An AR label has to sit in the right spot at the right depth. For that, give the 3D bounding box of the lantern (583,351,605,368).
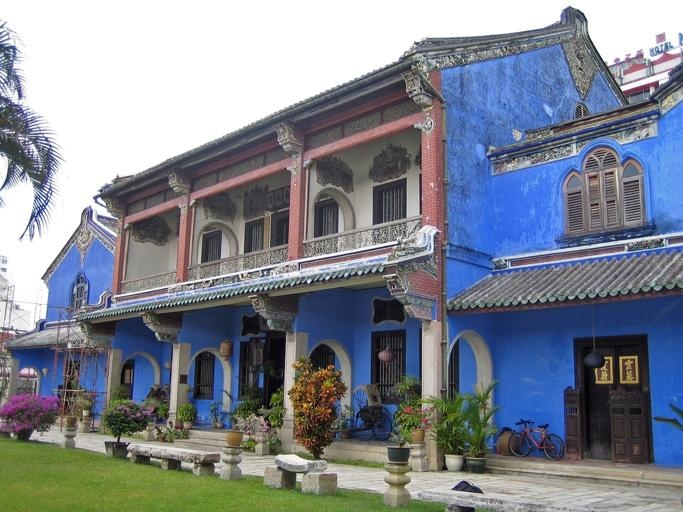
[{"bbox_3d":[5.052,2.049,13.002,0.361,0.389,0.376,-5,-8,25],"label":"lantern"}]

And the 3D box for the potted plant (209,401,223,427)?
[{"bbox_3d":[-3.807,4.822,19.714,0.521,0.951,0.547,1,-19,-6],"label":"potted plant"}]

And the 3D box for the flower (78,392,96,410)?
[{"bbox_3d":[-8.204,4.683,20.981,0.442,0.658,1.214,10,-22,-20],"label":"flower"}]

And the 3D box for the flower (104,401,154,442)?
[{"bbox_3d":[-4.852,3.673,14.523,0.721,0.902,0.862,-12,-24,35],"label":"flower"}]

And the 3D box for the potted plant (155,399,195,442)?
[{"bbox_3d":[-4.607,4.596,18.098,0.883,1.151,0.783,-2,-10,-3],"label":"potted plant"}]

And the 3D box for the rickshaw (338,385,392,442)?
[{"bbox_3d":[0.593,3.869,16.154,1.361,1.356,0.797,-16,-26,40],"label":"rickshaw"}]

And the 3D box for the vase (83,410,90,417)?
[{"bbox_3d":[-8.008,4.938,20.461,0.224,0.181,0.217,10,-17,-32],"label":"vase"}]

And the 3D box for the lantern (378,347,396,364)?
[{"bbox_3d":[1.076,2.380,15.547,0.396,0.434,0.388,-3,-4,2],"label":"lantern"}]

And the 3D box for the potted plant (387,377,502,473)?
[{"bbox_3d":[2.255,3.560,13.931,2.175,2.052,1.763,-5,-21,19],"label":"potted plant"}]

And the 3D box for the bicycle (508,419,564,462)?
[{"bbox_3d":[4.176,3.957,13.916,0.550,0.721,1.095,15,-14,-42],"label":"bicycle"}]

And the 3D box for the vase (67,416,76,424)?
[{"bbox_3d":[-6.619,4.023,15.860,0.216,0.255,0.403,10,-22,-22],"label":"vase"}]

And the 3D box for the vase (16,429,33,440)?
[{"bbox_3d":[-8.316,4.676,17.036,0.335,0.427,0.374,2,0,-19],"label":"vase"}]
